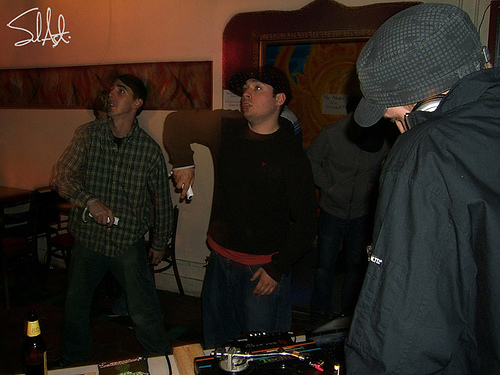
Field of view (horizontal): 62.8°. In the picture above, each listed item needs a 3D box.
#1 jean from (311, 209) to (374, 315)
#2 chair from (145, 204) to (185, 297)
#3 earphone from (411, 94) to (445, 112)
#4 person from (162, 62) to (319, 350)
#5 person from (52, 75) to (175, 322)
[{"bbox_3d":[0.866,0.671,3.951,0.453,1.574,0.398,3,23,4],"label":"jean"},{"bbox_3d":[-0.919,0.684,4.428,0.441,0.912,0.462,-6,1,39],"label":"chair"},{"bbox_3d":[0.595,-0.278,1.372,0.068,0.016,0.066,-45,32,-19],"label":"earphone"},{"bbox_3d":[-0.081,0.111,2.693,0.593,1.790,1.023,-7,11,-43],"label":"person"},{"bbox_3d":[-1.031,0.359,3.138,0.871,2.342,0.779,3,7,-20],"label":"person"}]
